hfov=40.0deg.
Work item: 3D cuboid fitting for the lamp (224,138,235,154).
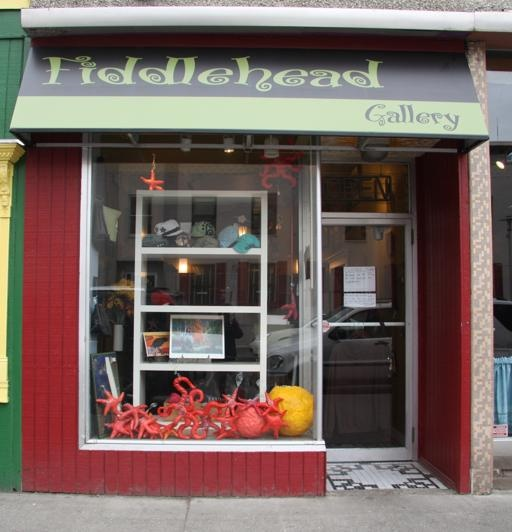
[{"bbox_3d":[-0.244,-1.067,6.186,0.099,0.157,0.095,2,-1,7],"label":"lamp"}]

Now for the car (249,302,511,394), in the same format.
[{"bbox_3d":[0.940,0.791,6.693,2.651,0.821,0.914,1,-5,-5],"label":"car"}]

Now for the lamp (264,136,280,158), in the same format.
[{"bbox_3d":[0.128,-1.043,6.201,0.111,0.154,0.164,0,-10,2],"label":"lamp"}]

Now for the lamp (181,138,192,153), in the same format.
[{"bbox_3d":[-0.624,-1.067,6.196,0.097,0.111,0.090,-2,-5,2],"label":"lamp"}]

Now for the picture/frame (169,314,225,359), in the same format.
[{"bbox_3d":[-0.549,0.651,6.316,0.448,0.310,0.045,0,-8,-1],"label":"picture/frame"}]
